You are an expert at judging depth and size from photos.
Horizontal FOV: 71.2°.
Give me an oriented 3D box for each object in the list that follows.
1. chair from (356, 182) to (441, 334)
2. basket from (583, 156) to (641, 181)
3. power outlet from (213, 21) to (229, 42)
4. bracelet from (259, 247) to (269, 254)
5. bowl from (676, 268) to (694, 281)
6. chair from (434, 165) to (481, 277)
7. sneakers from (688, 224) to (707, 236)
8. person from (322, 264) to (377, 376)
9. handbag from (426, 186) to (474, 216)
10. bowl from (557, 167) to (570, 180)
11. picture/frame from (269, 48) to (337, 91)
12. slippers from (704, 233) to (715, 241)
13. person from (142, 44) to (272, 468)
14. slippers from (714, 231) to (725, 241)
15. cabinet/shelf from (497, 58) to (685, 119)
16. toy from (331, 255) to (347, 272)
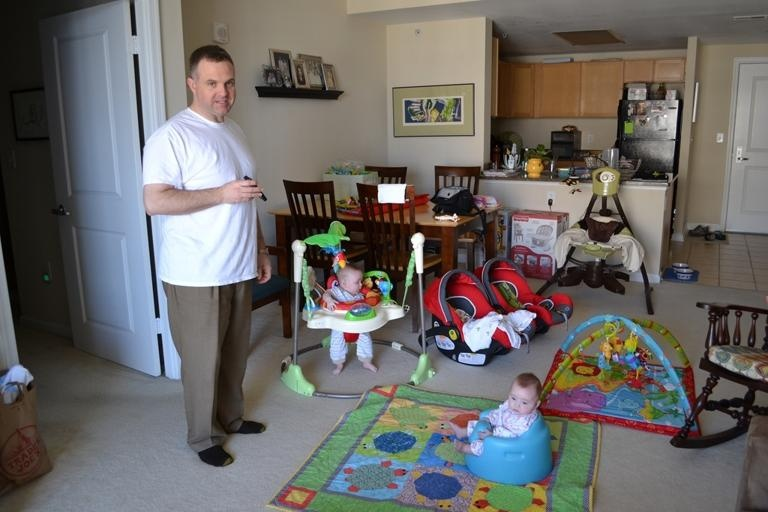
[{"bbox_3d":[0.100,-0.046,4.727,0.687,1.242,0.778,-5,16,-14],"label":"chair"},{"bbox_3d":[2.601,-1.006,6.124,0.552,0.191,0.922,5,17,21],"label":"basket"},{"bbox_3d":[-1.438,-1.948,4.687,0.041,0.150,0.164,10,13,29],"label":"power outlet"},{"bbox_3d":[-0.789,-0.031,3.496,0.070,0.041,0.052,-6,-6,41],"label":"bracelet"},{"bbox_3d":[3.241,0.203,5.747,0.148,0.056,0.140,-9,16,3],"label":"bowl"},{"bbox_3d":[0.813,-0.359,5.524,0.625,1.178,0.660,1,5,-3],"label":"chair"},{"bbox_3d":[4.736,-0.374,8.027,0.164,0.078,0.219,11,27,44],"label":"sneakers"},{"bbox_3d":[-0.246,0.459,3.874,0.362,0.812,0.374,-2,16,-2],"label":"person"},{"bbox_3d":[0.621,-0.486,4.739,0.322,0.192,0.265,0,9,8],"label":"handbag"},{"bbox_3d":[2.075,-0.937,6.207,0.160,0.115,0.172,0,2,0],"label":"bowl"},{"bbox_3d":[-0.798,-1.897,5.525,0.161,0.385,0.918,9,18,32],"label":"picture/frame"},{"bbox_3d":[4.705,-0.262,7.764,0.112,0.116,0.121,34,-14,-29],"label":"slippers"},{"bbox_3d":[-0.971,0.031,3.037,0.626,2.303,0.505,-9,17,-26],"label":"person"},{"bbox_3d":[4.879,-0.280,7.764,0.145,0.074,0.194,-12,21,6],"label":"slippers"},{"bbox_3d":[3.062,-2.571,8.270,2.452,0.814,0.467,0,16,4],"label":"cabinet/shelf"},{"bbox_3d":[-0.314,0.049,3.793,0.058,0.151,0.143,-7,17,-21],"label":"toy"}]
